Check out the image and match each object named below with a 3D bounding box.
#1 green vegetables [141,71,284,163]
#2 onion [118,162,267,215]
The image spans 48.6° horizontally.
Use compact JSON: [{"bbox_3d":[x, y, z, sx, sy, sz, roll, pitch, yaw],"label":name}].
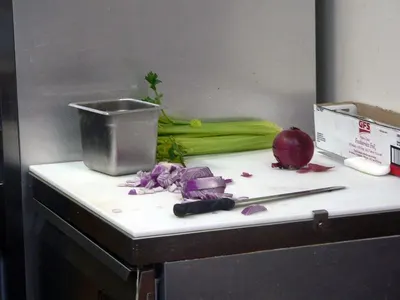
[{"bbox_3d":[0.027,-0.145,1.702,0.538,0.321,0.310,-13,18,-41],"label":"green vegetables"},{"bbox_3d":[-0.032,0.058,1.299,0.346,0.125,0.284,-7,13,-38],"label":"onion"}]
